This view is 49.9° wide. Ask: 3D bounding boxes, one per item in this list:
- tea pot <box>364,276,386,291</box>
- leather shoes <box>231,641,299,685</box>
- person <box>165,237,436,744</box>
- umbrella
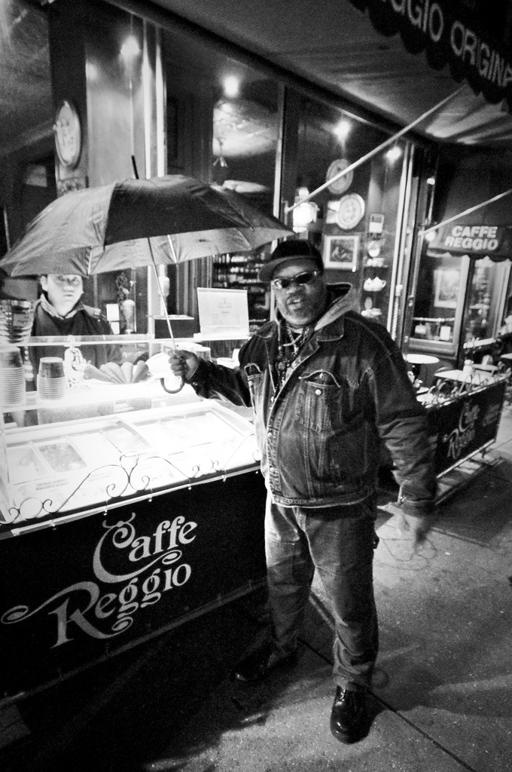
[{"bbox_3d":[1.166,-0.990,5.458,0.181,0.145,0.140,-1,1,-38],"label":"tea pot"},{"bbox_3d":[0.044,1.242,2.539,0.337,0.156,0.114,11,2,-40],"label":"leather shoes"},{"bbox_3d":[0.176,0.453,2.314,0.939,2.080,0.568,8,21,26],"label":"person"},{"bbox_3d":[-0.376,-0.509,2.080,0.915,0.525,1.205,4,13,8],"label":"umbrella"}]
